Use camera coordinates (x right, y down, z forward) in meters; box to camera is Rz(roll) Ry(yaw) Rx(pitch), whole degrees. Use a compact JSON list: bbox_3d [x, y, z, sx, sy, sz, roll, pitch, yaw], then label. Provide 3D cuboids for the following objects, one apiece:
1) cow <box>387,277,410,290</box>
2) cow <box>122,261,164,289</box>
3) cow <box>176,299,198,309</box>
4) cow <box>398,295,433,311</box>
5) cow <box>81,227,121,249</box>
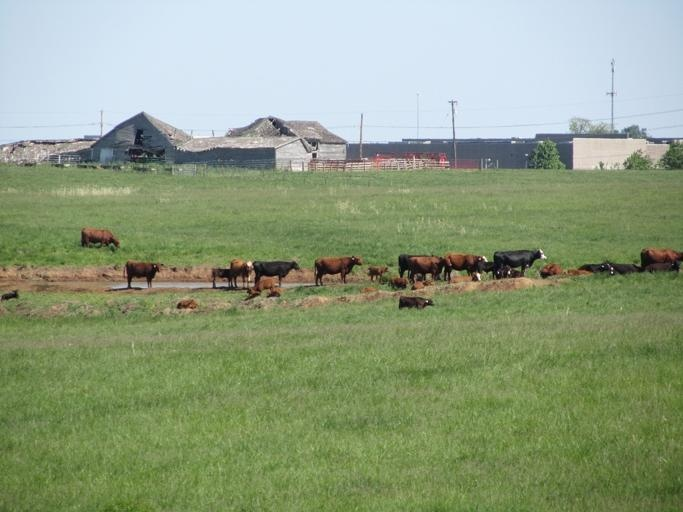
[{"bbox_3d":[2.704,1.358,67.363,0.849,0.568,1.637,-3,11,-1],"label":"cow"},{"bbox_3d":[-9.903,0.942,69.681,1.679,1.343,1.045,-4,10,-8],"label":"cow"},{"bbox_3d":[-7.105,2.215,64.498,1.114,0.436,0.951,-6,12,-19],"label":"cow"},{"bbox_3d":[3.211,2.130,62.550,1.788,1.019,0.590,1,0,-4],"label":"cow"},{"bbox_3d":[-13.414,-0.919,77.283,2.731,1.647,0.916,1,7,-2],"label":"cow"}]
